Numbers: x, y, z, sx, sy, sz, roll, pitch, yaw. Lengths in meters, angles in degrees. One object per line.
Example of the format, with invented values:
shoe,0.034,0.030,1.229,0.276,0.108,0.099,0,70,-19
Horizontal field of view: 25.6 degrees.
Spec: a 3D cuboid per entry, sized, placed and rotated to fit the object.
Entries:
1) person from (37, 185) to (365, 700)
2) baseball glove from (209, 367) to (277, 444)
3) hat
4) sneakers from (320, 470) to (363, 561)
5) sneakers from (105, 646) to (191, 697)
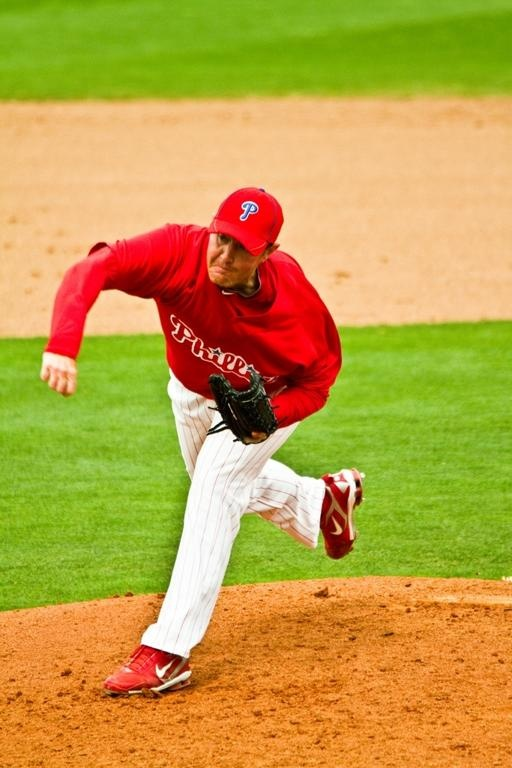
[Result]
person,-0.114,0.106,3.672,0.738,1.498,1.573,14,21,31
baseball glove,-0.041,0.064,3.426,0.114,0.163,0.162,-28,-30,-3
hat,-0.025,-0.501,3.379,0.199,0.151,0.288,26,24,7
sneakers,0.340,0.493,4.391,0.131,0.371,0.169,11,33,30
sneakers,-0.331,0.880,3.504,0.123,0.139,0.331,2,1,42
